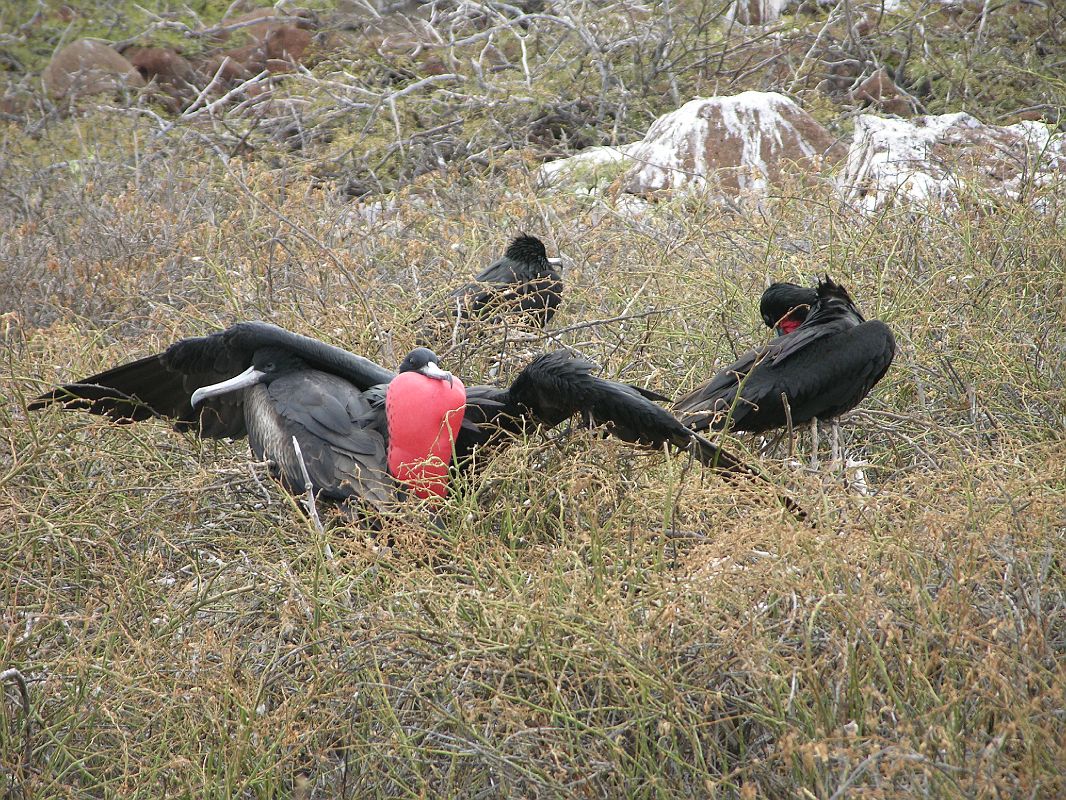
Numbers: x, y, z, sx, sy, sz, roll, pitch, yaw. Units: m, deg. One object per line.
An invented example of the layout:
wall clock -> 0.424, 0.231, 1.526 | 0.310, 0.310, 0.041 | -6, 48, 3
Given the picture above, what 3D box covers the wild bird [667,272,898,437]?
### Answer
wild bird -> 1.079, -0.188, 5.275 | 0.962, 0.516, 0.532 | -13, 9, -3
